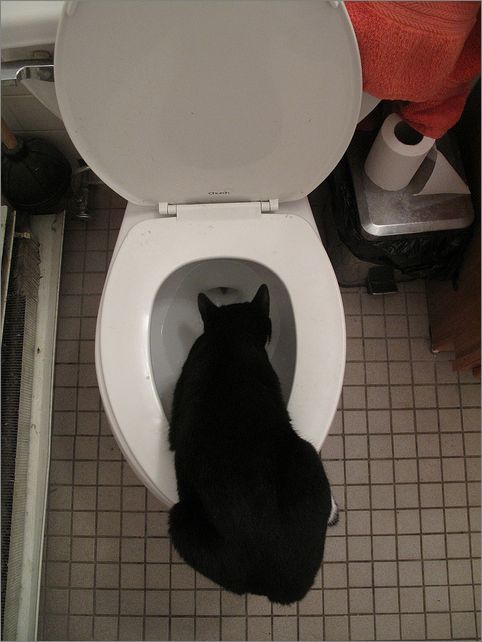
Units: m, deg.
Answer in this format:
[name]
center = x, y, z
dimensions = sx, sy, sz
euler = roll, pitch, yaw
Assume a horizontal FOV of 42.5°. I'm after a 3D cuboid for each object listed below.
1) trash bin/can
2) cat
[trash bin/can]
center = 0.300, -0.239, 1.308
dimensions = 0.236, 0.345, 0.344
euler = -1, 87, -1
[cat]
center = 0.016, 0.223, 1.060
dimensions = 0.218, 0.222, 0.494
euler = -3, 71, 1
